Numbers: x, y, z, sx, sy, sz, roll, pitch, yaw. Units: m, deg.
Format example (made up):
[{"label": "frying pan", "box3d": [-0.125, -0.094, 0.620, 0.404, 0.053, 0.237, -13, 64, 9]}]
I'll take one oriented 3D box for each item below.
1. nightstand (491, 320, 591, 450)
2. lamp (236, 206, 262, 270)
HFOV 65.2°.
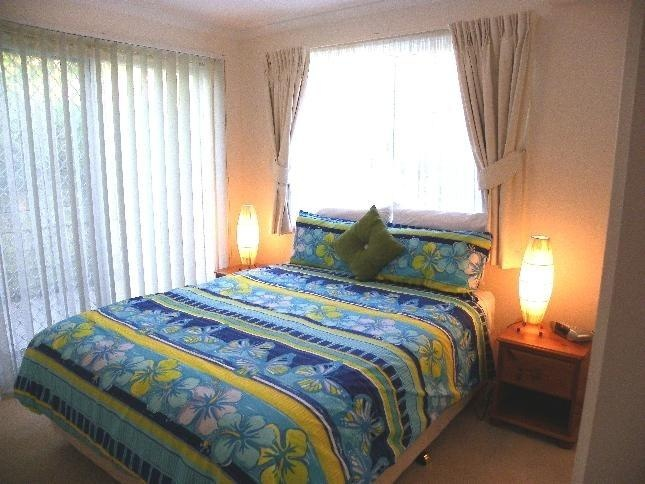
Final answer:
[{"label": "nightstand", "box3d": [1.369, 0.872, 3.198, 0.515, 0.634, 0.396, 6, 11, 29]}, {"label": "lamp", "box3d": [-0.687, -0.049, 4.650, 0.180, 0.570, 0.202, 1, 10, 0]}]
